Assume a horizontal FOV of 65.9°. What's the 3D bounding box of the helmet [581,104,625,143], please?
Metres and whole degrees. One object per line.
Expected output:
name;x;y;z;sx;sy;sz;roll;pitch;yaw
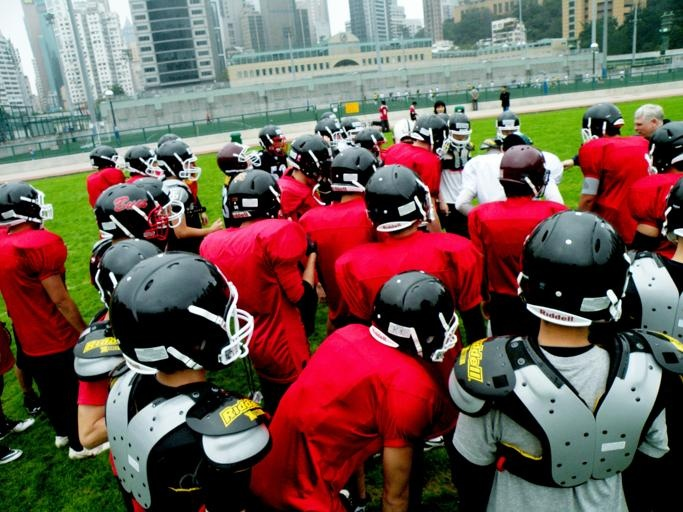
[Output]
helmet;3.241;-1.647;6.489;0.569;0.480;0.418;16;29;40

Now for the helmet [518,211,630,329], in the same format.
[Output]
helmet;1.157;0.075;2.629;0.516;0.549;0.385;-2;19;17

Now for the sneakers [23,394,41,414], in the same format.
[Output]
sneakers;-3.424;1.653;5.833;0.155;0.222;0.077;-9;-5;0

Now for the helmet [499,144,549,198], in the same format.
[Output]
helmet;1.509;-0.725;4.429;0.473;0.391;0.346;-22;27;-37

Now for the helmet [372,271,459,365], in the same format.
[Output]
helmet;0.427;0.357;3.046;0.452;0.470;0.339;-18;21;-29
